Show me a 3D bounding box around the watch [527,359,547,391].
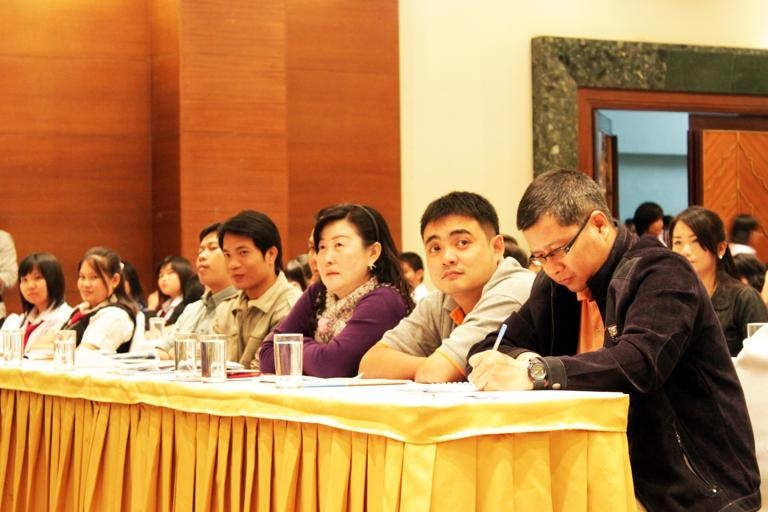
[{"bbox_3d":[0.521,0.394,2.274,0.070,0.095,0.094,0,-11,-13],"label":"watch"}]

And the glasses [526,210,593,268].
[{"bbox_3d":[0.682,-0.042,2.534,0.205,0.059,0.197,-43,6,-16],"label":"glasses"}]
